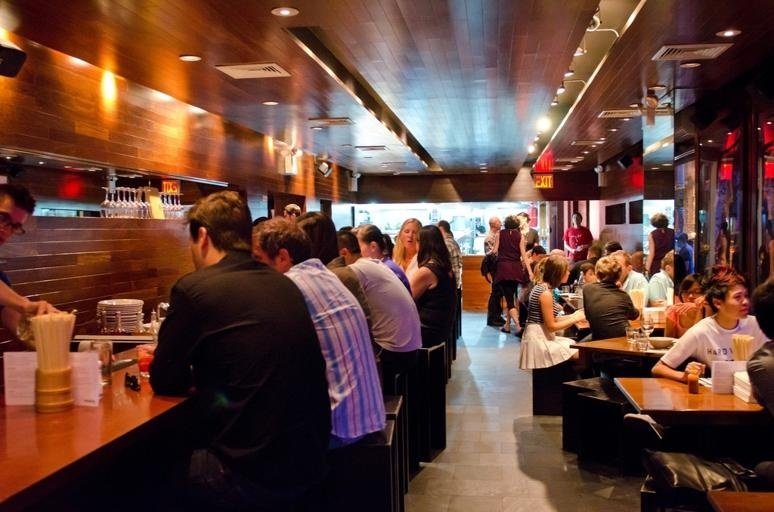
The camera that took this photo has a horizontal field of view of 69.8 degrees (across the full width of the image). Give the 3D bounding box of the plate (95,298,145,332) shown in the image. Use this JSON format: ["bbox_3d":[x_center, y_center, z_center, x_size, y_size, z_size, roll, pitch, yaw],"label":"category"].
[{"bbox_3d":[-2.356,0.530,4.912,0.349,0.206,0.335,1,-3,-19],"label":"plate"}]

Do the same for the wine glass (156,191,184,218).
[{"bbox_3d":[-2.804,-0.662,7.281,0.335,0.320,0.322,0,3,5],"label":"wine glass"}]

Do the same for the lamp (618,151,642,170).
[{"bbox_3d":[4.819,-1.929,10.972,0.319,0.086,0.341,-12,-32,34],"label":"lamp"}]

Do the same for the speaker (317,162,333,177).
[{"bbox_3d":[-1.298,-1.828,11.633,0.333,0.121,0.306,28,48,14],"label":"speaker"}]

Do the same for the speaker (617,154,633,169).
[{"bbox_3d":[4.790,-1.909,11.149,0.284,0.204,0.415,-27,-6,17],"label":"speaker"}]
